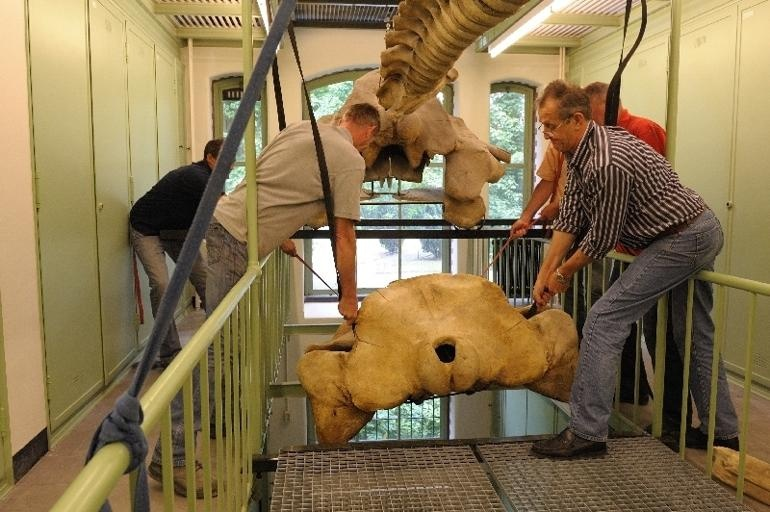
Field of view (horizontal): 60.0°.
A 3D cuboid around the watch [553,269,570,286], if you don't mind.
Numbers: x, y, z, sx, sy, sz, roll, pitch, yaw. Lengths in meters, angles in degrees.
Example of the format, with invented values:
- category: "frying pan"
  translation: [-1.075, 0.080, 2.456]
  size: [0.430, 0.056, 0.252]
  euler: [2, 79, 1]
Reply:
- category: "watch"
  translation: [1.152, 0.146, 4.334]
  size: [0.062, 0.122, 0.084]
  euler: [-25, 34, -38]

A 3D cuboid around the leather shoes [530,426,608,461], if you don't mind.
- category: "leather shoes"
  translation: [1.126, 1.166, 4.170]
  size: [0.478, 0.254, 0.189]
  euler: [1, 2, 2]

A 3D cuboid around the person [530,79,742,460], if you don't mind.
- category: "person"
  translation: [1.564, 0.124, 4.230]
  size: [1.240, 2.460, 0.814]
  euler: [1, 8, 8]

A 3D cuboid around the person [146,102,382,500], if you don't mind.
- category: "person"
  translation: [-0.739, 0.288, 4.437]
  size: [1.428, 2.613, 1.002]
  euler: [-1, 8, -2]
